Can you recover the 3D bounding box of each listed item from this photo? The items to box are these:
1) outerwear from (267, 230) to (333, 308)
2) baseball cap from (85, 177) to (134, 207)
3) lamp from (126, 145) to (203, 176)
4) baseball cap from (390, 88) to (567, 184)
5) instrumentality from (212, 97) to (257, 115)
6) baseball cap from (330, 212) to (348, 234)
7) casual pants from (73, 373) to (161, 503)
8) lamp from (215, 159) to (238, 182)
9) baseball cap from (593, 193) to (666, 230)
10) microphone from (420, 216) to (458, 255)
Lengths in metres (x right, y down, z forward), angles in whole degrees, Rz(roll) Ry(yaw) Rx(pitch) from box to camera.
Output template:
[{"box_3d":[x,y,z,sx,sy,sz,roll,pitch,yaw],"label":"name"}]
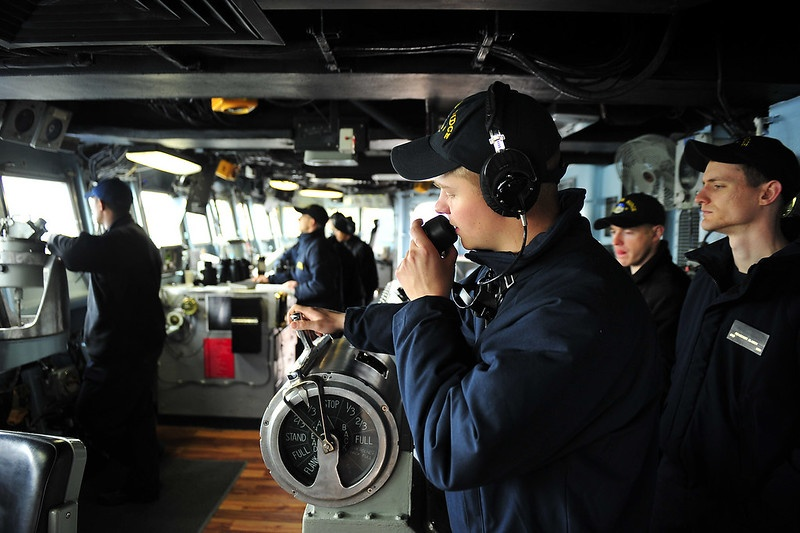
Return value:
[{"box_3d":[-0.821,0.048,6.627,0.803,0.841,1.093,3,1,-2],"label":"outerwear"},{"box_3d":[-2.154,-0.553,4.843,0.295,0.158,0.208,24,24,12],"label":"baseball cap"},{"box_3d":[-2.089,-0.934,5.861,0.388,0.285,0.884,2,13,-3],"label":"lamp"},{"box_3d":[0.320,-0.533,2.720,0.644,0.272,0.386,5,13,5],"label":"baseball cap"},{"box_3d":[-1.314,-1.264,5.256,0.330,0.124,0.573,-1,13,-14],"label":"instrumentality"},{"box_3d":[-0.732,-0.516,8.198,0.231,0.201,0.251,3,9,12],"label":"baseball cap"},{"box_3d":[-1.970,1.195,4.841,0.296,0.861,0.749,0,2,-32],"label":"casual pants"},{"box_3d":[-1.903,-1.059,7.237,0.054,0.196,0.226,1,-14,35],"label":"lamp"},{"box_3d":[1.508,-0.351,4.316,0.361,0.179,0.235,6,0,4],"label":"baseball cap"},{"box_3d":[0.172,-0.126,2.843,0.082,0.110,0.145,-46,43,-16],"label":"microphone"}]
